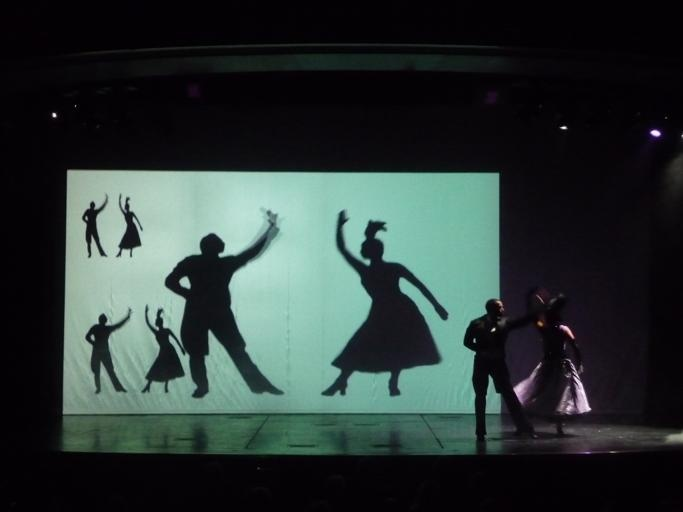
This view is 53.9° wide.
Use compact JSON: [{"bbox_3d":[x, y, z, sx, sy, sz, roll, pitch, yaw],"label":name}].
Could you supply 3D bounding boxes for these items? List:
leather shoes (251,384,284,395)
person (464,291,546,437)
[{"bbox_3d":[-1.017,1.802,9.132,0.513,0.158,0.135,8,-12,-3],"label":"leather shoes"},{"bbox_3d":[1.823,1.270,7.732,0.796,1.540,0.433,1,-5,-16],"label":"person"}]
